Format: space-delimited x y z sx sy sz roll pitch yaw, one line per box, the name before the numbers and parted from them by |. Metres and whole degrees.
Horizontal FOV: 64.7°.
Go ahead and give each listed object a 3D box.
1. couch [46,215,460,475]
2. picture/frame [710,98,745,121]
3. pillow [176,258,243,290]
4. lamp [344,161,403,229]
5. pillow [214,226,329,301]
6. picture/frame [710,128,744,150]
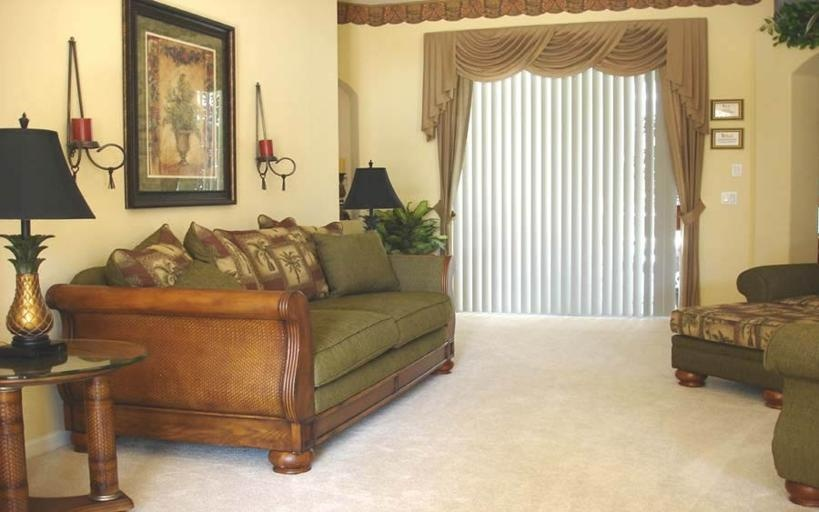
couch | -0.855 0.434 5.028 1.771 1.463 2.960 1 4 23
picture/frame | 3.578 -1.641 7.254 0.270 0.180 0.012 0 0 11
pillow | -1.260 0.141 4.039 0.272 0.103 0.227 18 1 27
lamp | -0.441 -0.617 6.679 0.662 0.797 0.639 -5 7 -20
pillow | -1.086 0.085 4.887 0.222 0.534 0.821 -30 -16 23
picture/frame | 3.575 -1.318 7.262 0.258 0.172 0.010 0 0 7
